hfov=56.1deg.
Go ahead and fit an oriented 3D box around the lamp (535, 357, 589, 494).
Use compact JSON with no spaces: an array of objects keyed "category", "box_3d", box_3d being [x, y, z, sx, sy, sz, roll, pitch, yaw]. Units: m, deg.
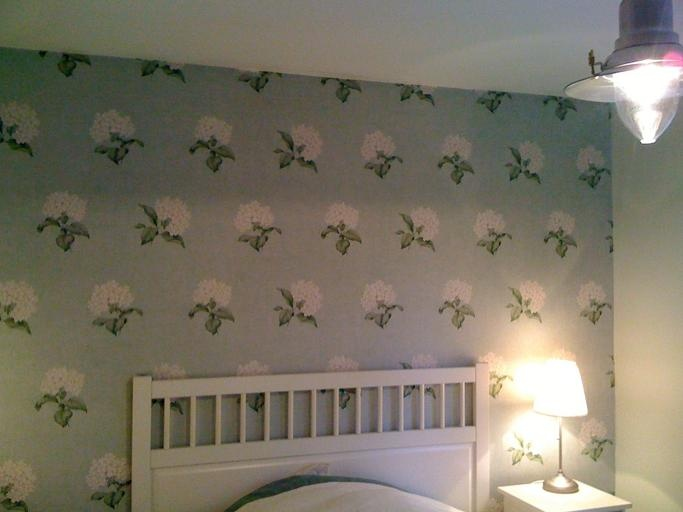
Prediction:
[{"category":"lamp","box_3d":[1.232,0.932,3.579,0.298,0.740,0.388,-11,-21,19]}]
